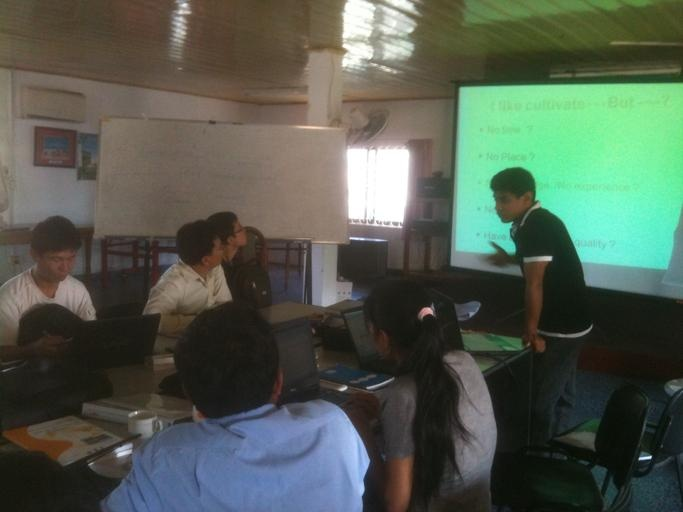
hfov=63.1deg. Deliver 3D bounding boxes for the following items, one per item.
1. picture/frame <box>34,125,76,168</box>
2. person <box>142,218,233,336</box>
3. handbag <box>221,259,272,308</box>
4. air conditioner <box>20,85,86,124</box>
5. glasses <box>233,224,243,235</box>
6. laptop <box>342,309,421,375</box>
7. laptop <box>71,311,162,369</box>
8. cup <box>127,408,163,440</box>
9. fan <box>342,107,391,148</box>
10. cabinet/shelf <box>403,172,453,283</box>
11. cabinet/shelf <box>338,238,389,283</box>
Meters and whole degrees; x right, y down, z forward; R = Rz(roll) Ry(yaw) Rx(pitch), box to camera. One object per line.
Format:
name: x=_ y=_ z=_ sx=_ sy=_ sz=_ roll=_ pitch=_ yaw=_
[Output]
picture/frame: x=-3.784 y=-1.429 z=7.351 sx=0.494 sy=0.478 sz=0.047 roll=-3 pitch=14 yaw=-41
person: x=-0.992 y=0.110 z=3.610 sx=0.482 sy=0.719 sz=0.725 roll=4 pitch=10 yaw=22
handbag: x=-0.698 y=0.195 z=4.007 sx=0.334 sy=0.357 sz=0.182 roll=-9 pitch=5 yaw=-43
air conditioner: x=-3.671 y=-1.933 z=7.128 sx=0.132 sy=0.381 sz=0.767 roll=13 pitch=11 yaw=38
glasses: x=-0.763 y=-0.207 z=4.162 sx=0.047 sy=0.075 sz=0.127 roll=1 pitch=5 yaw=6
laptop: x=0.203 y=0.453 z=3.130 sx=0.371 sy=0.409 sz=0.456 roll=-10 pitch=-12 yaw=-19
laptop: x=-1.107 y=0.420 z=2.723 sx=0.368 sy=0.246 sz=0.262 roll=2 pitch=29 yaw=-42
cup: x=-0.798 y=0.687 z=2.268 sx=0.118 sy=0.069 sz=0.089 roll=7 pitch=3 yaw=5
fan: x=0.353 y=-2.031 z=8.650 sx=0.831 sy=0.599 sz=0.163 roll=4 pitch=6 yaw=35
cabinet/shelf: x=1.188 y=-0.331 z=7.675 sx=0.725 sy=1.391 sz=0.463 roll=3 pitch=6 yaw=17
cabinet/shelf: x=0.314 y=0.065 z=8.330 sx=0.728 sy=0.657 sz=0.457 roll=1 pitch=5 yaw=3
